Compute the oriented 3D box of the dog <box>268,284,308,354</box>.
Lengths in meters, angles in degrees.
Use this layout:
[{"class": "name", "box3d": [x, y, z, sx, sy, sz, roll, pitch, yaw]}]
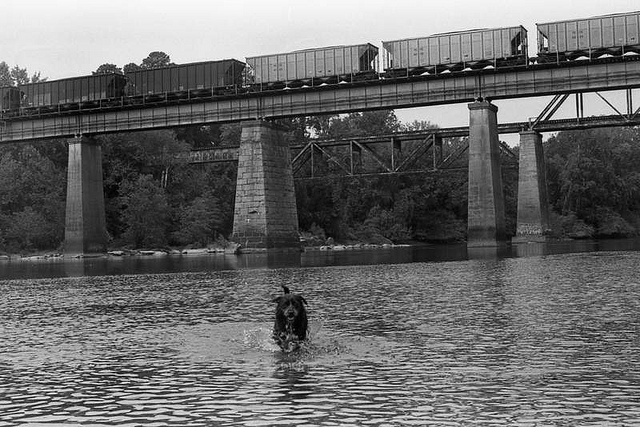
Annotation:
[{"class": "dog", "box3d": [-1.150, 3.967, 41.141, 1.329, 2.356, 0.911, -3, 7, -4]}]
